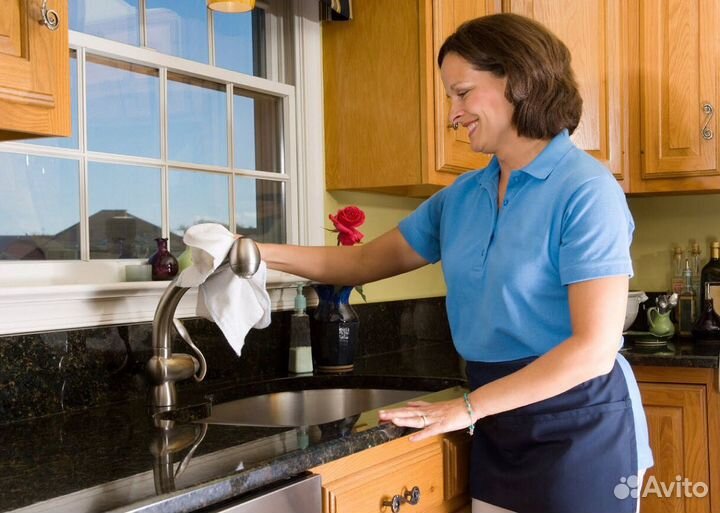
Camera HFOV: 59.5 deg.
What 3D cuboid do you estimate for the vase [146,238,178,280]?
[{"bbox_3d":[-0.604,0.010,1.903,0.097,0.135,0.099,-3,7,-10],"label":"vase"}]

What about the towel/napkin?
[{"bbox_3d":[-0.329,0.085,1.631,0.173,0.309,0.228,14,1,11],"label":"towel/napkin"}]

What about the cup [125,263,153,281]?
[{"bbox_3d":[-0.669,0.044,1.862,0.057,0.035,0.057,0,-1,0],"label":"cup"}]

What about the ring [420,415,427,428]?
[{"bbox_3d":[0.141,0.372,1.414,0.017,0.034,0.032,0,3,5],"label":"ring"}]

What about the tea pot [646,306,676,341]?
[{"bbox_3d":[1.232,0.276,2.636,0.144,0.149,0.104,8,-8,-11],"label":"tea pot"}]
